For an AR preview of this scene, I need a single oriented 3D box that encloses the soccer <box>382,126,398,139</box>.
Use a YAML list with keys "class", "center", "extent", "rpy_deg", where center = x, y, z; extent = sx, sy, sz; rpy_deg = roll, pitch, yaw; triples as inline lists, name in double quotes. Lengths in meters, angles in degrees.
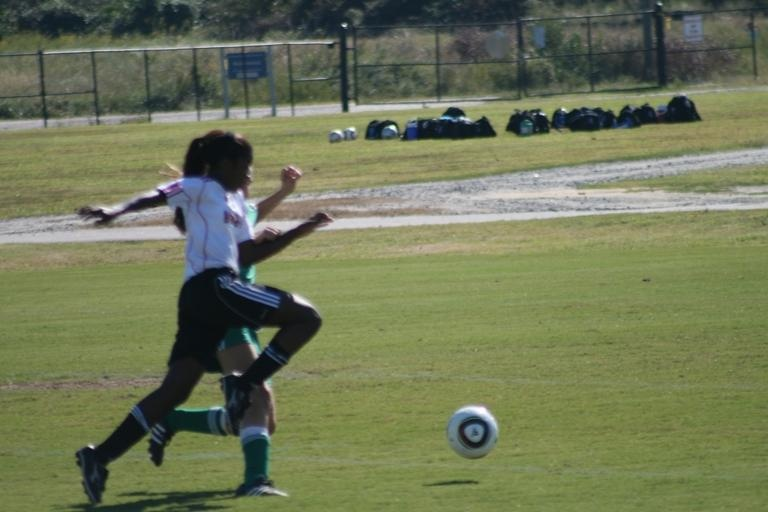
- class: "soccer"
  center: [0.317, -5.279, 105.820]
  extent: [0.626, 0.393, 0.713]
  rpy_deg: [-3, 15, 2]
